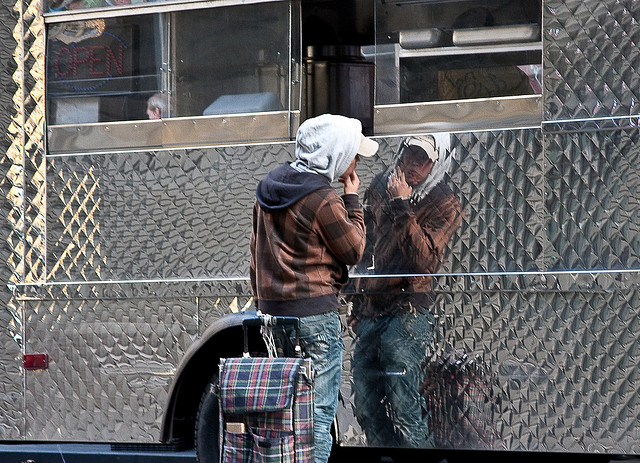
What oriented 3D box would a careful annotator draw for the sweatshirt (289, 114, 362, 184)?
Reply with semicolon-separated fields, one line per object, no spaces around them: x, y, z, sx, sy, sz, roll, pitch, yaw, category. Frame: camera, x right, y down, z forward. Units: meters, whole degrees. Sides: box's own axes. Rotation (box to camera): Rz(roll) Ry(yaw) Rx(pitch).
0.035;-0.508;9.647;0.380;0.410;0.337;2;12;4;sweatshirt

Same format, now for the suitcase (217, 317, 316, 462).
-0.331;0.880;9.688;0.642;0.859;0.426;1;7;14;suitcase
